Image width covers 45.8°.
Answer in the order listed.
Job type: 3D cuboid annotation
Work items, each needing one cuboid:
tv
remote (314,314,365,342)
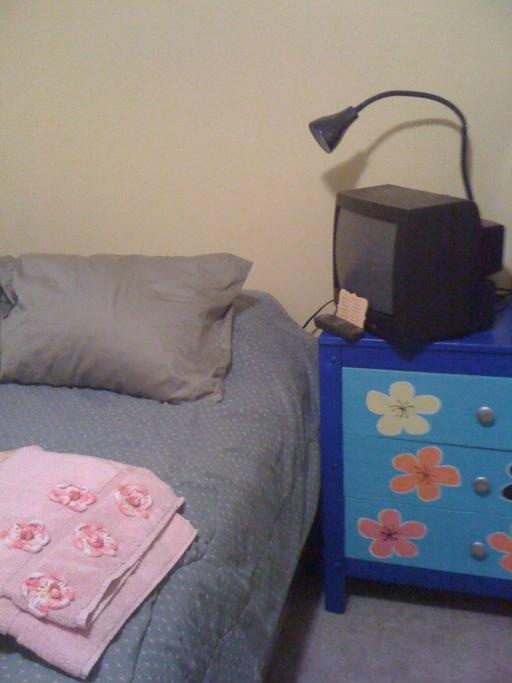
[{"bbox_3d":[0.373,-0.192,1.307,0.317,0.278,0.311,-13,21,-26],"label":"tv"},{"bbox_3d":[0.181,-0.041,1.255,0.044,0.025,0.096,-17,32,-29],"label":"remote"}]
